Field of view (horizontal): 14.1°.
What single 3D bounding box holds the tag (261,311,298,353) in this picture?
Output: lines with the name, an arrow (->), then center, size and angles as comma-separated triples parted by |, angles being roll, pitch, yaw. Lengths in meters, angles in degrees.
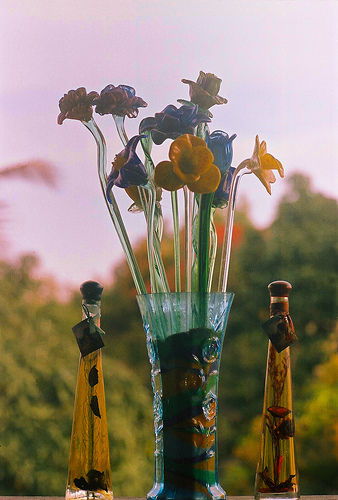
tag -> 0.413, 0.296, 4.998 | 0.130, 0.146, 0.047 | -3, -19, 6

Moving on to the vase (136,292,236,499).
vase -> 0.064, 0.523, 4.953 | 0.357, 0.715, 0.239 | 0, -19, -2
